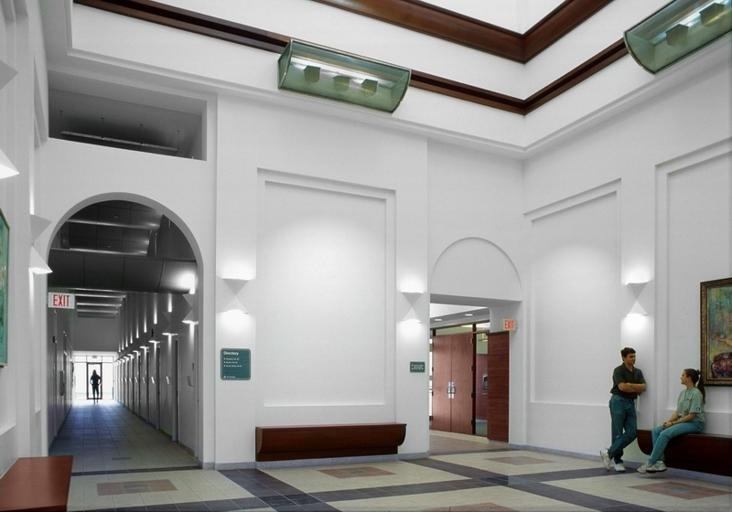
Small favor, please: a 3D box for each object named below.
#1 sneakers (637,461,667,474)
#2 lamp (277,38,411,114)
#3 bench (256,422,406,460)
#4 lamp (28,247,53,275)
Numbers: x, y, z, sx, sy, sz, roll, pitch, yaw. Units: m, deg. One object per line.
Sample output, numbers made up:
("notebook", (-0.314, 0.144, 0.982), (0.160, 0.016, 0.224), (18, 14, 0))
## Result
("sneakers", (4.860, 3.578, 8.783), (0.541, 0.241, 0.193), (1, -11, -1))
("lamp", (-0.426, -3.612, 10.364), (2.519, 0.673, 0.878), (8, -17, -21))
("bench", (-0.619, 3.535, 9.941), (2.860, 0.675, 0.480), (6, -4, -23))
("lamp", (-4.294, 0.058, 6.715), (0.158, 0.296, 0.476), (4, -8, -16))
